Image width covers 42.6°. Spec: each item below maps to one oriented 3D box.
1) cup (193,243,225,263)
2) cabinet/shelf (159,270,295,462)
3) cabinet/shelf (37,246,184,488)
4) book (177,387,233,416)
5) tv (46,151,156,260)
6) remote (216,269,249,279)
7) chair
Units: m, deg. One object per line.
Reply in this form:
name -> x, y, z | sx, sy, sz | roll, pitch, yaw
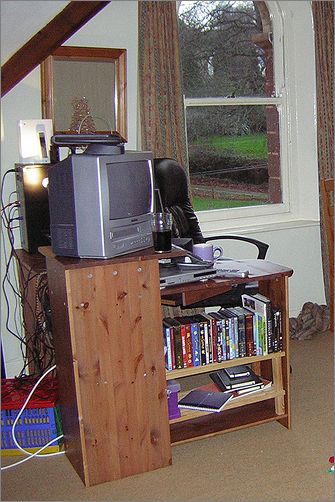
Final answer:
cup -> 0.172, 0.007, 1.717 | 0.120, 0.078, 0.073 | 3, 3, -24
cabinet/shelf -> 0.240, 0.483, 1.726 | 0.659, 0.563, 0.224 | -9, 18, -24
cabinet/shelf -> -0.181, 0.403, 1.595 | 0.439, 0.852, 0.391 | -6, 3, -27
book -> 0.165, 0.632, 1.794 | 0.204, 0.051, 0.186 | -3, 3, 19
tv -> -0.223, -0.153, 1.576 | 0.342, 0.419, 0.423 | 7, 14, 30
remote -> 0.243, 0.086, 1.627 | 0.120, 0.034, 0.113 | -4, 3, 6
chair -> 0.239, -0.102, 2.361 | 0.637, 0.774, 0.478 | 5, 18, 20
